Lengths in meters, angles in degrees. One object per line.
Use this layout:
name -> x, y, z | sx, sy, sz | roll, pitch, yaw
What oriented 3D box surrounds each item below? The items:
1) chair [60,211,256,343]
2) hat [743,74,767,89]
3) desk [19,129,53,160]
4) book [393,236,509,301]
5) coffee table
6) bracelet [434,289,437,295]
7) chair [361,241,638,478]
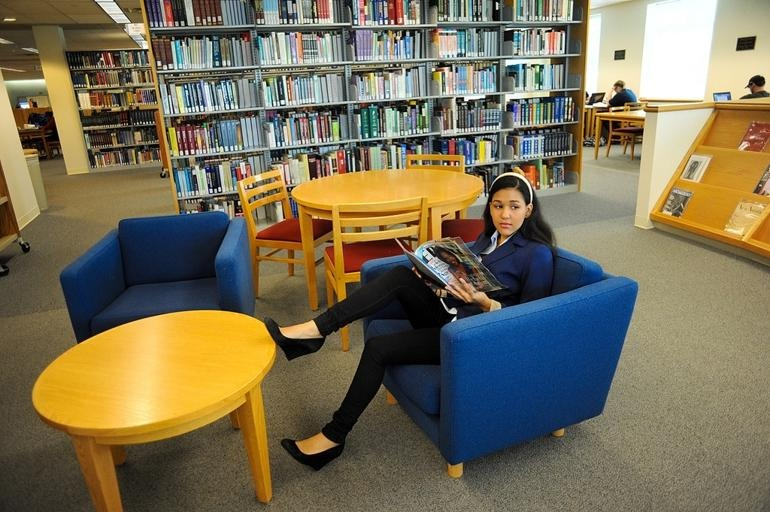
chair -> -1.574, 0.238, 4.102 | 1.108, 0.928, 1.052 | -4, 20, -7
hat -> 5.861, -2.677, 8.569 | 0.192, 0.191, 0.336 | 10, 25, 27
desk -> -8.946, -2.835, 13.966 | 0.661, 0.761, 0.846 | -10, 24, -19
book -> 0.388, 0.078, 3.073 | 0.237, 0.438, 0.562 | -39, 7, -19
coffee table -> -1.254, 0.671, 3.047 | 1.132, 0.833, 1.114 | -13, 34, -18
bracelet -> 0.309, 0.226, 3.410 | 0.026, 0.028, 0.027 | -5, 18, -16
chair -> 0.589, 0.528, 3.455 | 1.324, 1.163, 1.233 | -11, 25, -21
